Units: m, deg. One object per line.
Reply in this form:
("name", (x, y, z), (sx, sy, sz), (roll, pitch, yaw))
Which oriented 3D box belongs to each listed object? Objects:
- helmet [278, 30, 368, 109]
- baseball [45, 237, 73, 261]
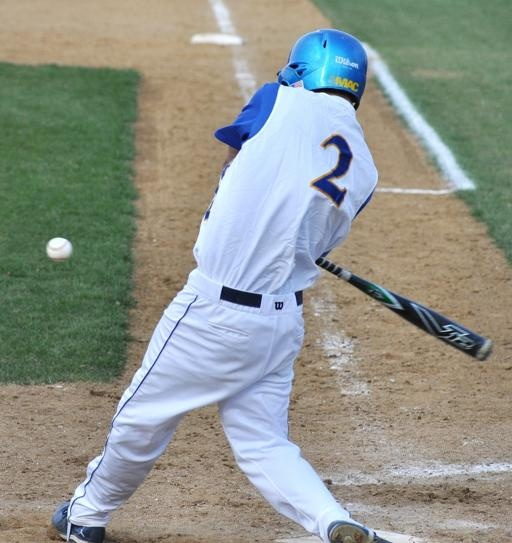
("helmet", (0.389, -1.120, 7.800), (0.383, 0.448, 0.464), (5, 18, -44))
("baseball", (-1.293, -0.137, 9.216), (0.150, 0.153, 0.151), (19, 36, -22))
